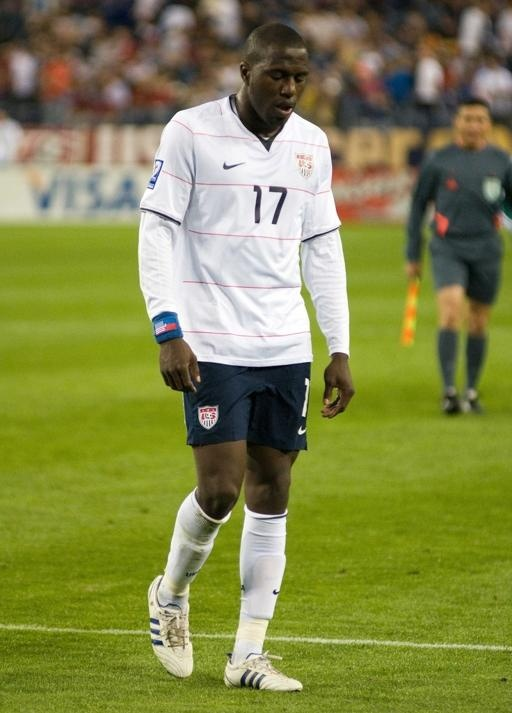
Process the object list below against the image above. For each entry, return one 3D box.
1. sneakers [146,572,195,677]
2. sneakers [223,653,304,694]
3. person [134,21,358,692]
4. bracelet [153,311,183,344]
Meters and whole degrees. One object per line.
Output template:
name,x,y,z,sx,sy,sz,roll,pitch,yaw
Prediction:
sneakers,-0.231,0.746,3.360,0.102,0.263,0.111,-9,-24,-28
sneakers,0.010,0.843,3.236,0.231,0.083,0.080,0,-10,16
person,-0.038,-0.016,3.275,0.564,1.731,0.598,7,15,14
bracelet,-0.226,-0.070,3.130,0.093,0.078,0.067,-9,-27,-18
